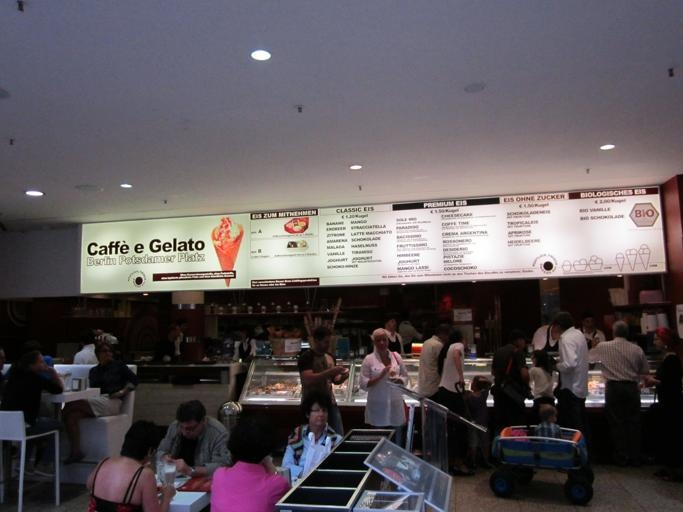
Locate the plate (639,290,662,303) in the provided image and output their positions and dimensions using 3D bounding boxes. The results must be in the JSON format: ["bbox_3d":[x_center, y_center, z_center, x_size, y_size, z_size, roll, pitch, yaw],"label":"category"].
[{"bbox_3d":[3.769,0.513,6.445,0.143,0.189,0.260,-10,6,-39],"label":"plate"}]

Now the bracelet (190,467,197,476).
[{"bbox_3d":[-1.018,1.499,3.640,0.044,0.043,0.030,15,-2,-41],"label":"bracelet"}]

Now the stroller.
[{"bbox_3d":[1.974,2.005,5.268,0.939,0.649,0.704,-4,-12,19],"label":"stroller"}]

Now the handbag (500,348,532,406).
[{"bbox_3d":[1.956,1.395,5.978,0.455,0.667,0.341,22,-29,-38],"label":"handbag"}]

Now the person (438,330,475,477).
[{"bbox_3d":[1.229,1.661,5.903,0.358,1.598,1.104,-1,-6,13],"label":"person"}]

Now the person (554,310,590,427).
[{"bbox_3d":[2.513,1.261,5.753,0.339,1.254,0.337,-2,-6,19],"label":"person"}]

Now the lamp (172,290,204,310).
[{"bbox_3d":[-2.698,0.718,9.259,0.433,0.426,0.436,0,-4,-21],"label":"lamp"}]

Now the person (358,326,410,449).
[{"bbox_3d":[0.421,1.312,5.425,0.490,1.078,1.014,-1,-6,7],"label":"person"}]

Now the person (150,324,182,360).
[{"bbox_3d":[-2.871,1.452,8.757,0.414,0.640,1.259,1,-6,-12],"label":"person"}]

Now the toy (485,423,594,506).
[{"bbox_3d":[1.964,2.001,5.244,0.940,0.653,0.704,-5,-12,20],"label":"toy"}]
